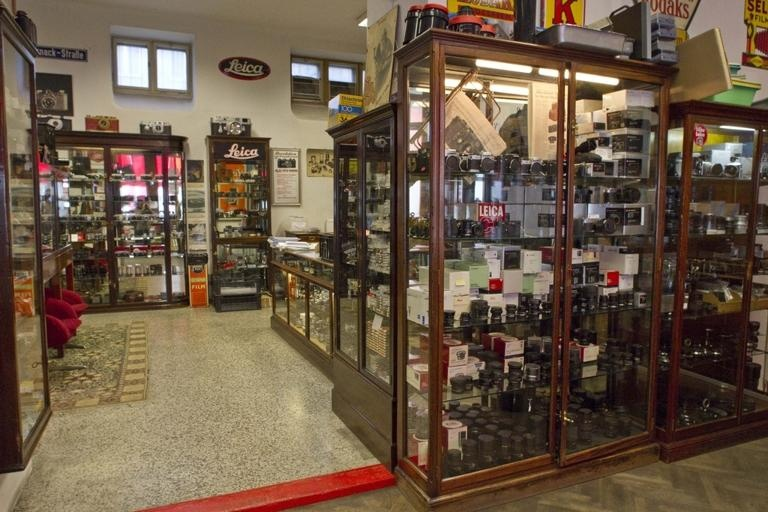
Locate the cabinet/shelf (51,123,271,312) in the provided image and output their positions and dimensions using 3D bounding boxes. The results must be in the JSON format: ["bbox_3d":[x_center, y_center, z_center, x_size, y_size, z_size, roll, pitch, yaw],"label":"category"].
[{"bbox_3d":[-3.820,-0.645,9.568,3.293,2.722,1.167,-2,6,-16],"label":"cabinet/shelf"}]

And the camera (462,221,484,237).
[{"bbox_3d":[0.706,-0.217,4.601,0.206,0.149,0.111,0,3,-11],"label":"camera"}]

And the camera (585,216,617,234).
[{"bbox_3d":[1.878,-0.270,4.943,0.133,0.194,0.235,5,0,-30],"label":"camera"}]

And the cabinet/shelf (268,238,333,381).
[{"bbox_3d":[-1.041,0.700,7.283,0.534,1.048,1.588,-3,8,-30],"label":"cabinet/shelf"}]

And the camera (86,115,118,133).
[{"bbox_3d":[-4.639,-2.190,9.452,0.502,0.333,0.499,-4,6,-25],"label":"camera"}]

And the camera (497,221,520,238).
[{"bbox_3d":[1.021,-0.225,4.757,0.230,0.159,0.127,-2,2,-22],"label":"camera"}]

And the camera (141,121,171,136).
[{"bbox_3d":[-3.848,-2.177,9.677,0.490,0.264,0.335,-4,6,-25],"label":"camera"}]
